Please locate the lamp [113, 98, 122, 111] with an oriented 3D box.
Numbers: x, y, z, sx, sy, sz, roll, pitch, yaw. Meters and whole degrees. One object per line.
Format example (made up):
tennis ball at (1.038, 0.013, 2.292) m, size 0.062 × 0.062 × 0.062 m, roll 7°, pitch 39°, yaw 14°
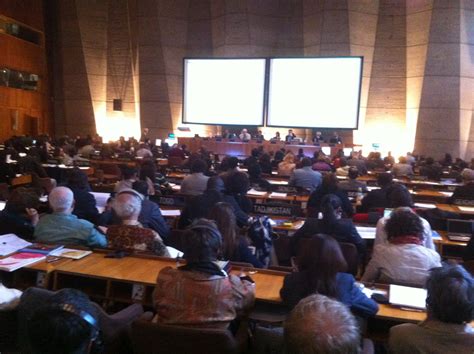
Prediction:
lamp at (-6.506, -3.904, 20.104) m, size 0.517 × 0.656 × 0.176 m, roll 6°, pitch 6°, yaw 20°
